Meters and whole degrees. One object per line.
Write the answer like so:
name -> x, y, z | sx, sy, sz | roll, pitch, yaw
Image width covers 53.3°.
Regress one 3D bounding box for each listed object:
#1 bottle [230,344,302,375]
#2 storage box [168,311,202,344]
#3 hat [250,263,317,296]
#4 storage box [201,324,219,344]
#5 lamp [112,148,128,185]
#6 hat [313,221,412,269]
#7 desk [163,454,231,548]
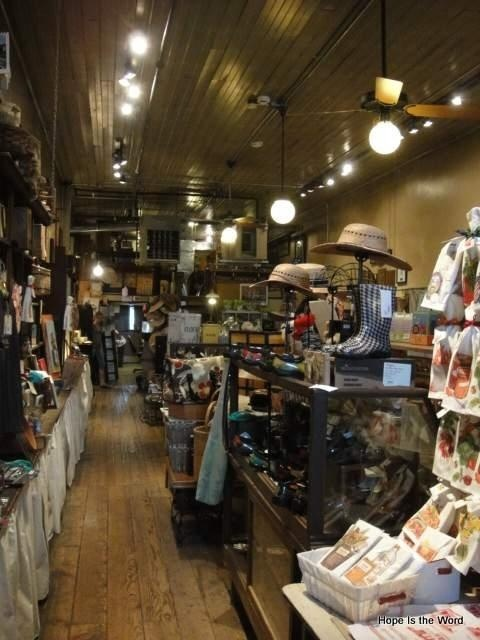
bottle -> 0.124, 0.179, 2.105 | 0.275, 0.086, 0.103 | 22, -4, 39
storage box -> -0.644, 0.099, 5.472 | 0.406, 0.454, 0.323 | 2, 4, 0
hat -> 0.286, -0.228, 2.676 | 0.244, 0.113, 0.214 | 11, -4, -16
storage box -> -0.529, 0.228, 8.677 | 0.339, 0.303, 0.587 | 2, -1, -3
lamp -> -2.071, -2.714, 8.334 | 0.319, 0.477, 0.452 | -2, -7, -15
hat -> 0.554, -0.284, 1.997 | 0.302, 0.117, 0.281 | 19, -6, -35
desk -> -0.359, 1.390, 3.908 | 0.379, 0.376, 1.047 | 2, -5, -6
